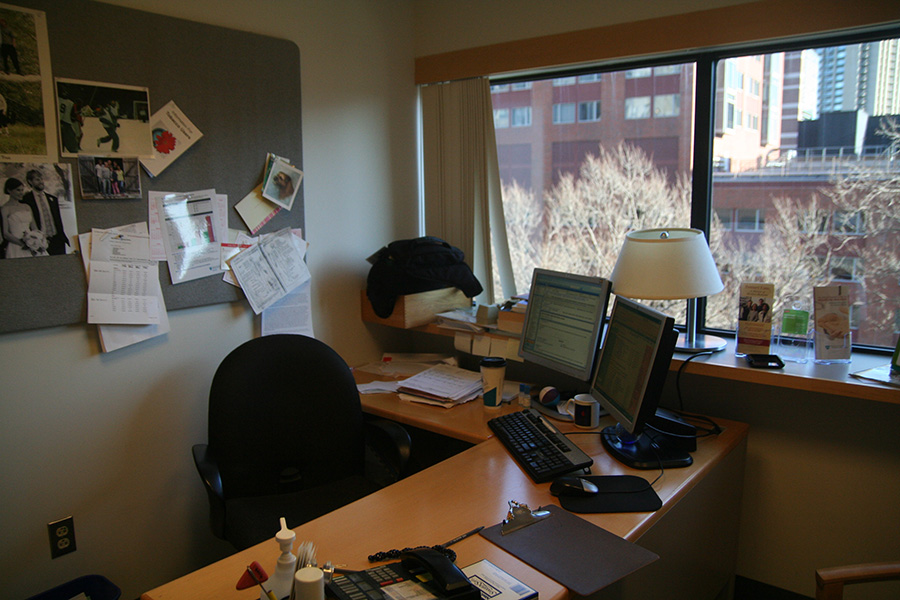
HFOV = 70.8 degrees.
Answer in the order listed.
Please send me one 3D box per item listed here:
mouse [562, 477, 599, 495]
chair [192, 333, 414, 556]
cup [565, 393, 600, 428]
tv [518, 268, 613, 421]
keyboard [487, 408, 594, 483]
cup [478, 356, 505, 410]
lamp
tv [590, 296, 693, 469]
[{"bbox_3d":[0.478,0.683,2.323,0.101,0.031,0.059,-1,14,14],"label":"mouse"},{"bbox_3d":[-0.651,0.579,3.190,0.917,1.167,0.994,-10,11,-21],"label":"chair"},{"bbox_3d":[0.600,0.492,2.835,0.096,0.109,0.151,-2,2,-19],"label":"cup"},{"bbox_3d":[0.535,0.217,2.908,0.246,0.742,0.573,1,9,-35],"label":"tv"},{"bbox_3d":[0.364,0.586,2.673,0.288,0.110,0.563,-7,15,-17],"label":"keyboard"},{"bbox_3d":[0.200,0.382,2.953,0.103,0.213,0.115,0,12,4],"label":"cup"},{"bbox_3d":[1.049,-0.033,2.904,0.468,0.526,0.464,-21,7,-38],"label":"lamp"},{"bbox_3d":[0.780,0.358,2.623,0.374,0.669,0.525,-3,13,-11],"label":"tv"}]
